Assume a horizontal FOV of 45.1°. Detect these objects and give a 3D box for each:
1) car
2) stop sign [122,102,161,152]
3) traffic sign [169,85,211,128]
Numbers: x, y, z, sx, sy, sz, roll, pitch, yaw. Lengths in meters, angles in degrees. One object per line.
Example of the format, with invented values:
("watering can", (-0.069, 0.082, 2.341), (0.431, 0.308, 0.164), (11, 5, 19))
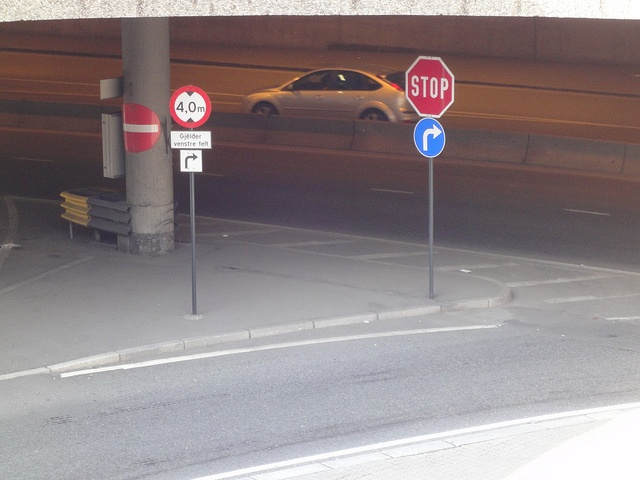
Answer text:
("car", (0.349, -4.585, 24.329), (5.486, 1.619, 1.045), (8, 14, 32))
("stop sign", (-3.557, -2.190, 15.178), (0.736, 0.962, 0.226), (5, 14, 15))
("traffic sign", (-2.072, -2.078, 12.198), (0.593, 0.655, 0.415), (-1, 13, -10))
